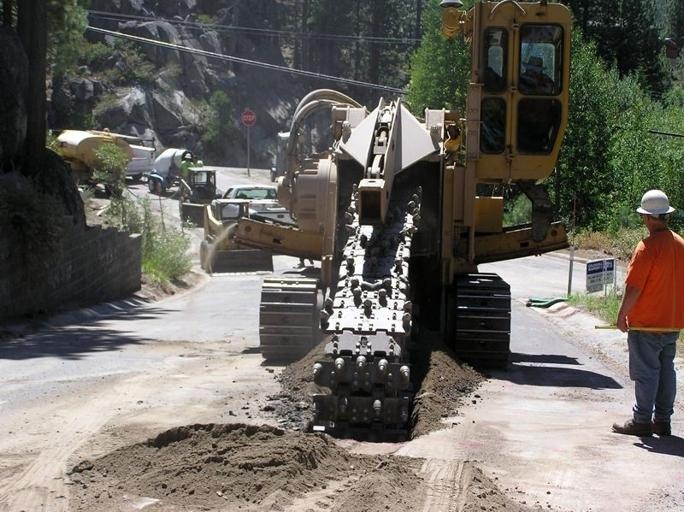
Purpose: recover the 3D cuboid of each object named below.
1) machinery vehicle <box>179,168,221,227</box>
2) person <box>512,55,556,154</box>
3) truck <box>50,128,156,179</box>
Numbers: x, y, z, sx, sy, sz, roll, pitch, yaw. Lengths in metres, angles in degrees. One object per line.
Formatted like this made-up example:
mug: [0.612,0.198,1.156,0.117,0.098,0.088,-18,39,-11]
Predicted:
machinery vehicle: [-6.500,-2.642,38.043,2.009,3.847,2.143,-2,10,-21]
person: [3.435,-2.653,14.767,0.754,1.547,0.504,-2,6,-2]
truck: [-13.068,-5.585,47.274,3.346,2.654,13.236,1,4,0]
